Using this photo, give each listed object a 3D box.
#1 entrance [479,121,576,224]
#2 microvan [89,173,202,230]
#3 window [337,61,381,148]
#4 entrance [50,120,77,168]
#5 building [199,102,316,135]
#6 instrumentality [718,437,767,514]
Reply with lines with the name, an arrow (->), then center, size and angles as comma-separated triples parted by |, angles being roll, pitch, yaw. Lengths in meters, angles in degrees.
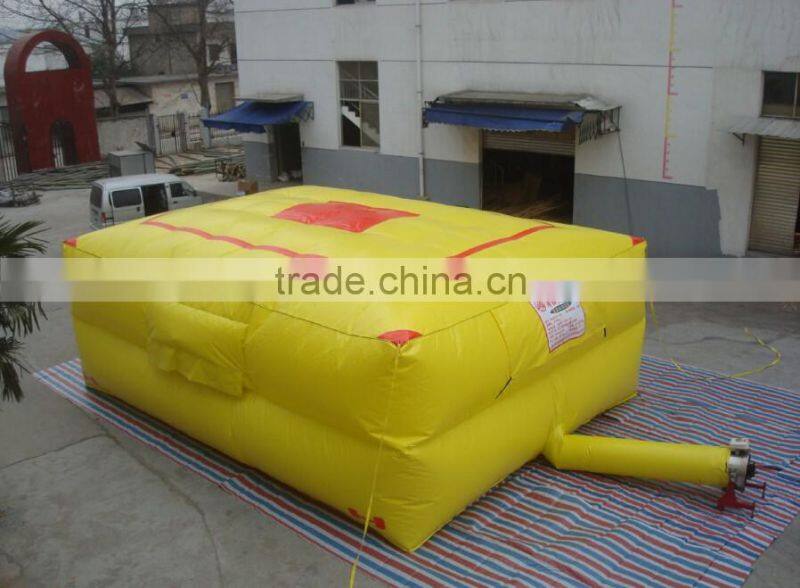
entrance -> 3.940, -3.382, 16.120 | 2.597, 2.436, 2.530 | 13, 20, 39
microvan -> -7.225, -2.562, 16.639 | 1.740, 1.434, 2.742 | 22, 33, 37
window -> -1.232, -5.940, 17.997 | 2.244, 3.012, 0.146 | 17, 31, 33
entrance -> -15.433, -6.489, 26.491 | 0.251, 2.375, 1.353 | 21, 24, 2
building -> -4.487, -5.800, 19.025 | 3.075, 0.735, 1.506 | 10, 37, 35
instrumentality -> 3.986, 2.140, 6.817 | 0.417, 0.730, 0.549 | 2, 33, 28
